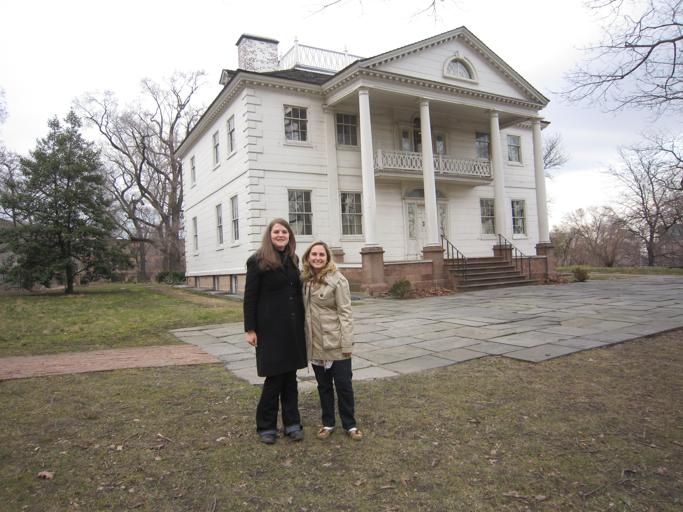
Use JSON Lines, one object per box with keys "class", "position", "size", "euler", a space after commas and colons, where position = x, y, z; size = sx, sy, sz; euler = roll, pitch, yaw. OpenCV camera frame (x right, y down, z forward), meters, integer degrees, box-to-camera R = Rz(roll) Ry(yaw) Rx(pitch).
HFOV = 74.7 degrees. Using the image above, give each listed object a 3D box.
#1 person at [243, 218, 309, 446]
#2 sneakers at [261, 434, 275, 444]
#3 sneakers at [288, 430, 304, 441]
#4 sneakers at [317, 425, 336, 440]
{"class": "person", "position": [-0.660, 0.714, 4.483], "size": [0.604, 2.161, 0.660], "euler": [-4, 9, -12]}
{"class": "sneakers", "position": [-0.715, 1.771, 4.353], "size": [0.161, 0.087, 0.122], "euler": [-3, 8, -10]}
{"class": "sneakers", "position": [-0.453, 1.784, 4.412], "size": [0.065, 0.064, 0.163], "euler": [3, -14, -35]}
{"class": "sneakers", "position": [-0.173, 1.752, 4.428], "size": [0.077, 0.072, 0.192], "euler": [-6, -14, 18]}
